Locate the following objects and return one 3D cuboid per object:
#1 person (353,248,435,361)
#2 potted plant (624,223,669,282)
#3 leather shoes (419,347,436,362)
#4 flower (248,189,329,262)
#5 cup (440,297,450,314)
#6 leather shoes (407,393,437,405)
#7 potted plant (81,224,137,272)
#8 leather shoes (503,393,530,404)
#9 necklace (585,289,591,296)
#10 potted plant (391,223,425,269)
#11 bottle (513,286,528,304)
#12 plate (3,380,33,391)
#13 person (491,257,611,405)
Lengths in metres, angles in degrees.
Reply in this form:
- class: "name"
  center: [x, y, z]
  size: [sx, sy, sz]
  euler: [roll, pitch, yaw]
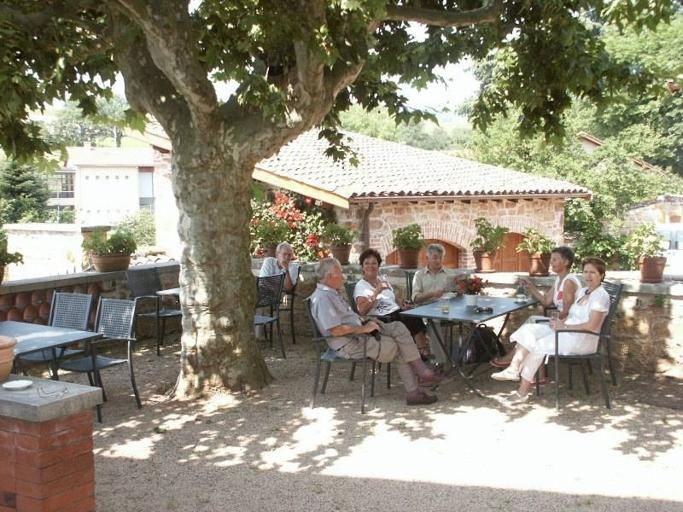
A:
- class: "person"
  center: [0.624, 0.623, 6.938]
  size: [0.714, 1.361, 1.092]
  euler: [-16, 21, -33]
- class: "potted plant"
  center: [3.773, -0.052, 7.459]
  size: [0.471, 0.698, 0.543]
  euler: [2, 9, 25]
- class: "leather shoes"
  center: [1.028, 1.216, 7.381]
  size: [0.150, 0.218, 0.238]
  euler: [0, -8, 2]
- class: "flower"
  center: [-0.940, -0.545, 10.727]
  size: [1.386, 0.996, 1.475]
  euler: [7, 19, -7]
- class: "cup"
  center: [1.138, 0.541, 6.524]
  size: [0.127, 0.198, 0.125]
  euler: [-1, 5, 0]
- class: "leather shoes"
  center: [0.817, 1.476, 6.276]
  size: [0.330, 0.129, 0.121]
  euler: [-1, 6, -10]
- class: "potted plant"
  center: [-3.539, -0.100, 8.961]
  size: [0.941, 0.839, 0.826]
  euler: [-1, 0, 36]
- class: "leather shoes"
  center: [1.797, 1.455, 6.150]
  size: [0.248, 0.091, 0.127]
  euler: [0, 1, 1]
- class: "necklace"
  center: [2.570, 0.364, 6.270]
  size: [0.041, 0.053, 0.020]
  euler: [3, -16, 31]
- class: "potted plant"
  center: [1.055, -0.148, 8.877]
  size: [0.588, 0.785, 0.638]
  euler: [1, 1, 8]
- class: "bottle"
  center: [2.180, 0.465, 7.296]
  size: [0.187, 0.194, 0.183]
  euler: [-8, 7, -43]
- class: "plate"
  center: [-2.152, 0.846, 3.946]
  size: [0.187, 0.036, 0.102]
  euler: [-2, 7, -6]
- class: "person"
  center: [2.140, 0.704, 6.308]
  size: [1.199, 1.426, 0.679]
  euler: [-4, 14, 12]
